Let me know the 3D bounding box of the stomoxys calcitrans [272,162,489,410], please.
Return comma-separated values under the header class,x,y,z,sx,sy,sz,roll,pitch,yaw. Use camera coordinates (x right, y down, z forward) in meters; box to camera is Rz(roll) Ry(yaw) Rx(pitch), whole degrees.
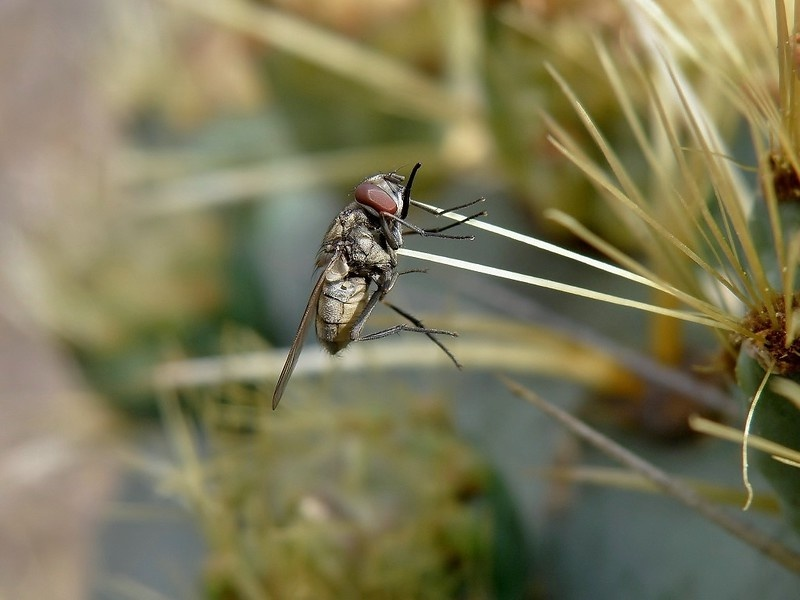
class,x,y,z,sx,sy,sz,roll,pitch,yaw
stomoxys calcitrans,0.006,0.007,0.619,0.054,0.155,0.154,16,23,-20
